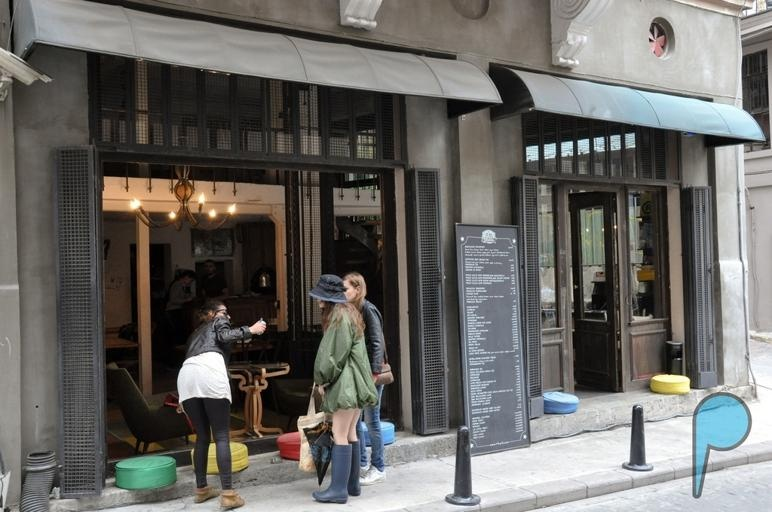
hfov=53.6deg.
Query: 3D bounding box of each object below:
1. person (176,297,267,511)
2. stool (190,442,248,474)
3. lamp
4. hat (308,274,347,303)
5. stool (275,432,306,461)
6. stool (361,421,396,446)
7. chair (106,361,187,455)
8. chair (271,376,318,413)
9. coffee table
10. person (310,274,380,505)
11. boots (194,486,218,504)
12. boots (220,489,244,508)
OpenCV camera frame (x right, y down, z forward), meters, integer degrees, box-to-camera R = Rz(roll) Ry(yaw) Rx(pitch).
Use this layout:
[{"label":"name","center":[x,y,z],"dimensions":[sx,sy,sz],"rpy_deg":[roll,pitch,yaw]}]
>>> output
[{"label":"person","center":[-1.957,1.768,8.996],"dimensions":[0.867,2.293,0.615],"rpy_deg":[7,12,25]},{"label":"stool","center":[-2.002,2.431,9.137],"dimensions":[0.528,0.255,0.541],"rpy_deg":[-1,2,5]},{"label":"lamp","center":[-4.043,-1.204,15.269],"dimensions":[1.784,1.218,1.963],"rpy_deg":[-2,4,-9]},{"label":"hat","center":[-0.649,0.399,9.135],"dimensions":[0.334,0.202,0.361],"rpy_deg":[10,-2,12]},{"label":"stool","center":[-1.253,2.459,9.887],"dimensions":[0.313,0.180,0.336],"rpy_deg":[-3,3,4]},{"label":"stool","center":[-0.115,2.302,9.844],"dimensions":[0.496,0.195,0.491],"rpy_deg":[-1,1,-33]},{"label":"chair","center":[-3.326,2.119,10.858],"dimensions":[1.095,1.187,0.943],"rpy_deg":[-3,2,-24]},{"label":"chair","center":[-1.469,2.167,11.811],"dimensions":[0.459,0.457,0.604],"rpy_deg":[1,-10,-12]},{"label":"coffee table","center":[-1.962,2.187,11.601],"dimensions":[0.953,0.854,0.958],"rpy_deg":[1,-3,-18]},{"label":"person","center":[-0.485,1.594,9.043],"dimensions":[0.720,2.619,0.611],"rpy_deg":[1,11,-5]},{"label":"boots","center":[-2.153,2.827,9.044],"dimensions":[0.117,0.138,0.317],"rpy_deg":[3,6,32]},{"label":"boots","center":[-1.786,2.829,8.819],"dimensions":[0.151,0.175,0.299],"rpy_deg":[4,5,38]}]
